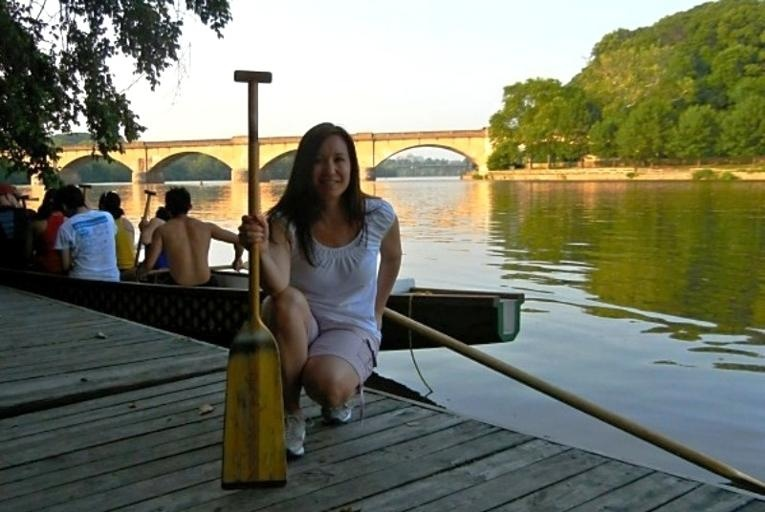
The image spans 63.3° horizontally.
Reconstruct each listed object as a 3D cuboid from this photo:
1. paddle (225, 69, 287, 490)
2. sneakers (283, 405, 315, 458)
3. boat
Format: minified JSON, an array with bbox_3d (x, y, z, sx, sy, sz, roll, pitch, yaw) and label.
[{"bbox_3d":[-0.618,0.095,2.946,0.303,1.895,0.516,-1,11,-9],"label":"paddle"},{"bbox_3d":[-0.446,0.906,3.167,0.089,0.198,0.142,-1,11,-9],"label":"sneakers"},{"bbox_3d":[-1.168,0.348,5.087,5.326,0.698,1.190,2,0,6],"label":"boat"}]
